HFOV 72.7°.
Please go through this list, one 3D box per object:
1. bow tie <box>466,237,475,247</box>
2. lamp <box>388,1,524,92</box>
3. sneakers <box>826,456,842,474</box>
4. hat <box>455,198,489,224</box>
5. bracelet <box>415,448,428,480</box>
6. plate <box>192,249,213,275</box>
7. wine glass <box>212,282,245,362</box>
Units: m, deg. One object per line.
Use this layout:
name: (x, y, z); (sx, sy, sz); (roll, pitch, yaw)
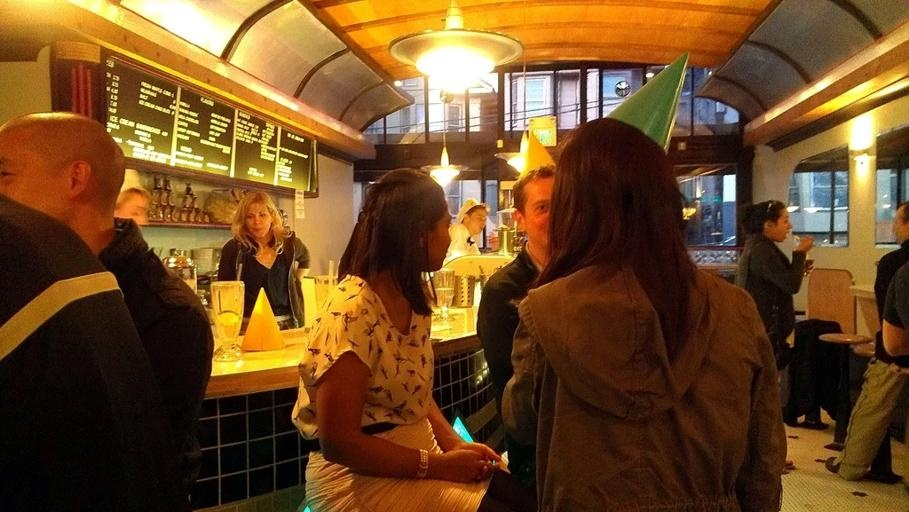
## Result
bow tie: (0.220, -0.191, 8.166); (0.088, 0.103, 0.191); (21, 0, 4)
lamp: (0.037, -1.522, 4.677); (0.769, 0.276, 0.860); (1, 2, 44)
sneakers: (3.033, 1.664, 4.939); (0.095, 0.103, 0.116); (13, 40, 23)
hat: (0.155, -0.633, 7.885); (0.328, 0.208, 0.406); (-4, -21, -43)
bracelet: (-0.146, 0.994, 2.946); (0.077, 0.122, 0.119); (10, -42, 1)
plate: (-2.645, 0.058, 6.490); (0.215, 0.273, 0.290); (-3, 0, 2)
wine glass: (-1.281, 0.360, 3.514); (0.171, 0.436, 0.245); (-2, 2, -21)
